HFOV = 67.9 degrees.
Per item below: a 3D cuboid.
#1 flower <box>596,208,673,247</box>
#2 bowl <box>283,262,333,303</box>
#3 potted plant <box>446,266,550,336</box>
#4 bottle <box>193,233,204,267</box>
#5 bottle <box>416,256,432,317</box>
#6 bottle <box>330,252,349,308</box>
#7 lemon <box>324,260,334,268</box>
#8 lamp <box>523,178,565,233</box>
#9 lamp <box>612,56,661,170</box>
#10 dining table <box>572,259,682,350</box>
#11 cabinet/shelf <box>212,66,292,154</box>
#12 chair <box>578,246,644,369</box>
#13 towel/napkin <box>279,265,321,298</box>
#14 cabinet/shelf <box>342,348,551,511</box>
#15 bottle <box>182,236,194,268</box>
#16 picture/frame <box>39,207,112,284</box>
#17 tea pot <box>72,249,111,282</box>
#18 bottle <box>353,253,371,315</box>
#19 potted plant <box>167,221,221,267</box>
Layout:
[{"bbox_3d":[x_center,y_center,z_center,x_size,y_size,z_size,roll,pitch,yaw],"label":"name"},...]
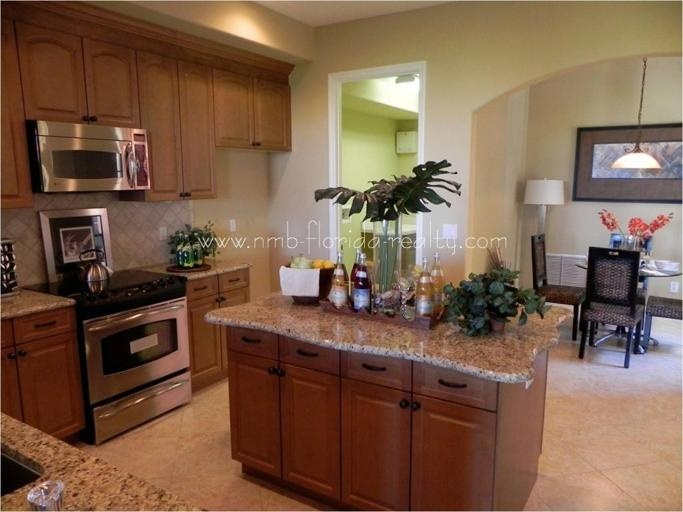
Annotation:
[{"bbox_3d":[3.323,-0.320,5.852,0.765,0.469,0.663,4,-2,8],"label":"flower"},{"bbox_3d":[-0.216,0.187,3.432,0.286,0.242,0.343,2,3,20],"label":"bowl"},{"bbox_3d":[0.837,0.237,2.853,0.347,0.349,0.504,-9,7,-40],"label":"potted plant"},{"bbox_3d":[-1.270,-0.047,4.507,0.040,0.268,0.131,2,9,15],"label":"bottle"},{"bbox_3d":[0.484,0.178,2.975,0.101,0.328,0.164,1,8,8],"label":"bottle"},{"bbox_3d":[-0.017,0.147,3.233,0.127,0.342,0.213,-1,8,0],"label":"bottle"},{"bbox_3d":[-0.089,0.053,3.380,0.041,0.042,0.054,-2,-3,18],"label":"lemon"},{"bbox_3d":[2.683,-0.642,6.719,0.441,0.725,0.647,4,9,29],"label":"lamp"},{"bbox_3d":[3.575,-1.740,6.074,0.514,1.413,1.122,4,9,31],"label":"lamp"},{"bbox_3d":[3.191,0.641,5.699,1.149,1.090,1.055,0,4,22],"label":"dining table"},{"bbox_3d":[-0.900,-1.432,4.931,0.365,0.690,0.940,6,9,38],"label":"cabinet/shelf"},{"bbox_3d":[2.739,0.469,5.144,0.565,1.133,0.670,4,9,30],"label":"chair"},{"bbox_3d":[-0.259,0.164,3.292,0.207,0.160,0.030,3,13,11],"label":"towel/napkin"},{"bbox_3d":[0.681,0.907,3.066,0.927,0.934,1.007,2,2,36],"label":"cabinet/shelf"},{"bbox_3d":[-1.344,-0.024,4.421,0.106,0.253,0.064,-8,11,-43],"label":"bottle"},{"bbox_3d":[-2.101,-0.075,3.955,0.042,0.625,0.538,6,11,41],"label":"picture/frame"},{"bbox_3d":[-1.938,0.073,3.890,0.233,0.327,0.325,-1,2,-39],"label":"tea pot"},{"bbox_3d":[0.122,0.160,3.106,0.117,0.360,0.100,0,8,1],"label":"bottle"},{"bbox_3d":[-1.393,-0.134,4.625,0.397,0.387,0.404,5,10,27],"label":"potted plant"}]
